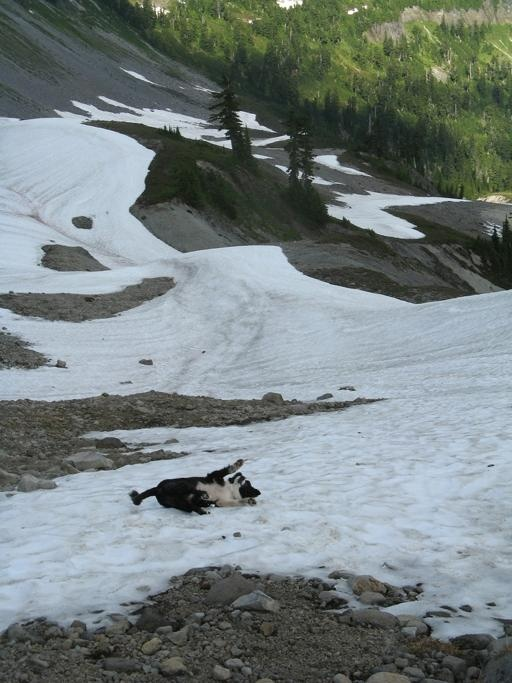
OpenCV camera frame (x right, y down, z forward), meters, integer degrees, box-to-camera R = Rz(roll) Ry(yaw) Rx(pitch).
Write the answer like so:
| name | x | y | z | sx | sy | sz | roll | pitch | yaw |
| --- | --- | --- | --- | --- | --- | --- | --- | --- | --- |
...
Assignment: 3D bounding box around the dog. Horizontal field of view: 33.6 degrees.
| name | x | y | z | sx | sy | sz | roll | pitch | yaw |
| --- | --- | --- | --- | --- | --- | --- | --- | --- | --- |
| dog | -0.702 | 1.669 | 9.704 | 1.319 | 0.559 | 0.458 | 5 | 4 | -4 |
